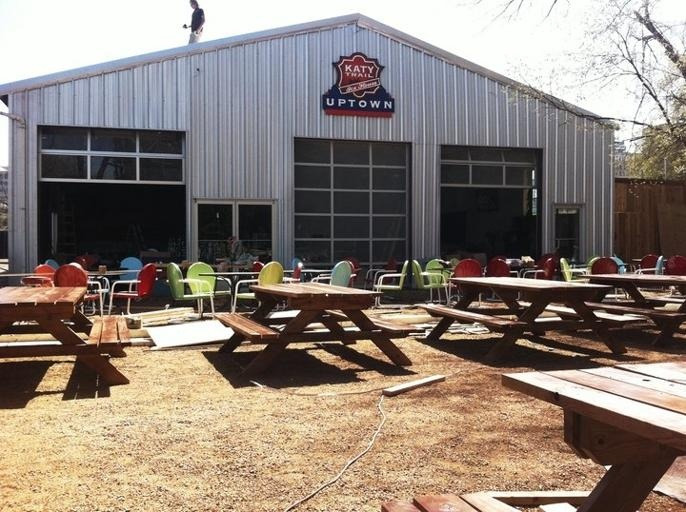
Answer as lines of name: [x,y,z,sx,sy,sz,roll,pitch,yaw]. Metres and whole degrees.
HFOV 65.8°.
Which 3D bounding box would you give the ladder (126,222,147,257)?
ladder: [-7.880,-0.747,20.148,0.629,1.028,1.046,-1,2,-21]
